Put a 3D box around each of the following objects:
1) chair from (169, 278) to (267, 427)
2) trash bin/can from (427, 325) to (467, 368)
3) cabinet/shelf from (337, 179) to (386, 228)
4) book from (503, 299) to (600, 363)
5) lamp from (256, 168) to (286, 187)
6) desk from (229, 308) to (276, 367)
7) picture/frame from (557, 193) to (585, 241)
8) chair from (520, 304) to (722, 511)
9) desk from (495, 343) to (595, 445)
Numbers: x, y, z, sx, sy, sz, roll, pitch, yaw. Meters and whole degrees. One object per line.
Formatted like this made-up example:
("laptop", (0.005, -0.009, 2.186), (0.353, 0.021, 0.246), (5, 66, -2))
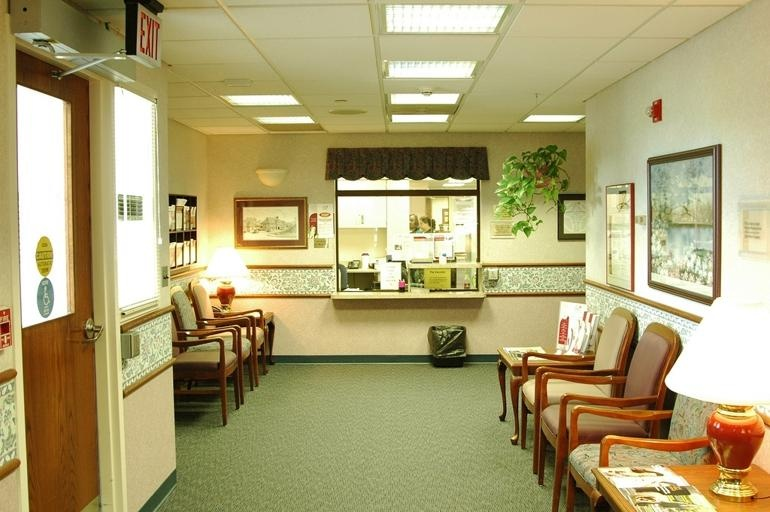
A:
("chair", (-2.186, 1.047, 7.188), (1.213, 1.719, 1.230), (0, 0, 4))
("trash bin/can", (0.891, 1.285, 8.025), (0.561, 0.565, 0.535), (-1, -5, 0))
("cabinet/shelf", (-0.360, -0.843, 8.408), (0.674, 0.656, 0.226), (-1, 6, 2))
("book", (1.902, 0.803, 6.069), (0.510, 0.719, 0.697), (4, 1, -17))
("lamp", (-1.669, -1.187, 8.149), (0.298, 0.139, 0.308), (0, 2, 19))
("desk", (-1.958, 1.121, 7.977), (0.869, 0.847, 0.714), (0, -1, -4))
("picture/frame", (2.738, -0.612, 8.183), (0.680, 0.835, 0.037), (-1, 1, -1))
("chair", (2.096, 1.244, 4.996), (1.366, 2.066, 1.468), (1, -3, -3))
("desk", (1.659, 1.327, 5.985), (0.987, 0.783, 0.898), (-1, 7, -8))
